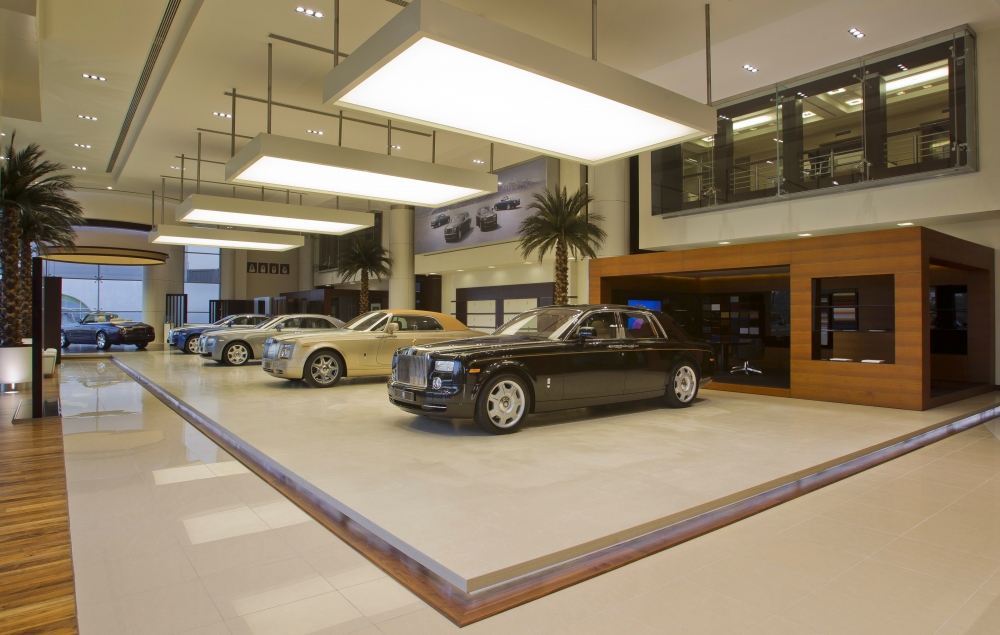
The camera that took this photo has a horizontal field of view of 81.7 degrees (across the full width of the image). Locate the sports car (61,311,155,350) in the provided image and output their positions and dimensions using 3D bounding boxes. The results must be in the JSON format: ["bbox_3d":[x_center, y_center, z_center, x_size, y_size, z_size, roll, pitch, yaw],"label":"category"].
[{"bbox_3d":[-16.773,0.617,24.696,4.844,1.497,1.402,5,9,30],"label":"sports car"}]

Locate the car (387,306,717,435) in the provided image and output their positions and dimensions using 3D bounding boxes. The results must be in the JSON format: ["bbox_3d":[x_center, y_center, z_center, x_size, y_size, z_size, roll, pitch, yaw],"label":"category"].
[{"bbox_3d":[1.189,0.939,10.796,5.614,1.582,2.278,3,-5,-30],"label":"car"}]

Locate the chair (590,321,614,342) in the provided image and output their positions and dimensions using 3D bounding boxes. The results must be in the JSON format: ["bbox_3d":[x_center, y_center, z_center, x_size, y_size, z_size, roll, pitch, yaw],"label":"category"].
[{"bbox_3d":[1.905,0.241,10.568,0.407,0.375,0.300,9,-10,-32],"label":"chair"}]

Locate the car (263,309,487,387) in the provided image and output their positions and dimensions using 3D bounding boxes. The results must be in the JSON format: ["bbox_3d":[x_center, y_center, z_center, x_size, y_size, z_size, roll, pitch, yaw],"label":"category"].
[{"bbox_3d":[-2.901,0.696,14.199,5.118,1.386,2.175,2,-4,-31],"label":"car"}]
